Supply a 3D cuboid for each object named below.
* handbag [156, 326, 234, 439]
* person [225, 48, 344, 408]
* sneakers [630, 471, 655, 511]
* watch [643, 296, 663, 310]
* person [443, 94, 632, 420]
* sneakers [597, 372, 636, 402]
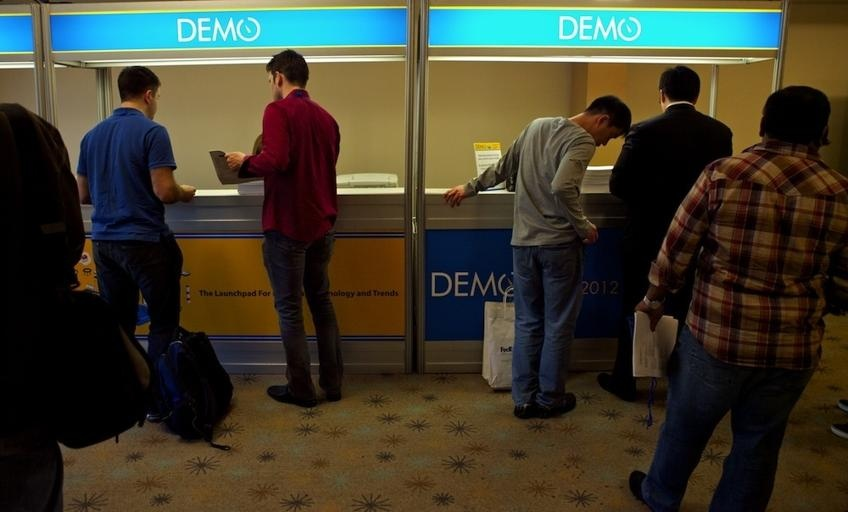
[{"bbox_3d":[-1.559,0.874,4.413,0.402,0.722,0.634,-3,9,-2],"label":"handbag"},{"bbox_3d":[-0.910,-0.168,4.595,0.560,2.434,0.500,0,16,4],"label":"person"},{"bbox_3d":[1.281,1.383,3.902,0.071,0.085,0.207,-2,30,-1],"label":"sneakers"},{"bbox_3d":[1.240,0.251,3.585,0.082,0.041,0.059,7,5,-34],"label":"watch"},{"bbox_3d":[0.823,0.065,4.607,0.649,2.003,0.666,-1,16,0],"label":"person"},{"bbox_3d":[1.394,0.937,4.848,0.117,0.183,0.274,-6,30,-25],"label":"sneakers"}]
